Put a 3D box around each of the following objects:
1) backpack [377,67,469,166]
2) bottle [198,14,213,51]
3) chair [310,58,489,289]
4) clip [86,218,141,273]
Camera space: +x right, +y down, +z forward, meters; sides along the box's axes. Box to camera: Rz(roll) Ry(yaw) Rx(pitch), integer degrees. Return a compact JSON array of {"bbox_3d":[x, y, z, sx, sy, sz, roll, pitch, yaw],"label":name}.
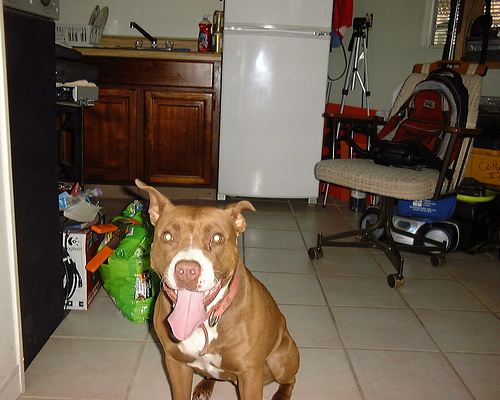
[{"bbox_3d":[1.222,-0.606,2.846,0.216,0.685,0.491,3,26,-40],"label":"backpack"},{"bbox_3d":[-0.422,-1.597,3.996,0.128,0.339,0.366,0,15,-6],"label":"bottle"},{"bbox_3d":[1.018,-0.263,2.815,0.903,1.352,1.014,11,16,35],"label":"chair"},{"bbox_3d":[-0.659,0.191,1.977,0.176,0.079,0.264,7,35,-33],"label":"clip"}]
